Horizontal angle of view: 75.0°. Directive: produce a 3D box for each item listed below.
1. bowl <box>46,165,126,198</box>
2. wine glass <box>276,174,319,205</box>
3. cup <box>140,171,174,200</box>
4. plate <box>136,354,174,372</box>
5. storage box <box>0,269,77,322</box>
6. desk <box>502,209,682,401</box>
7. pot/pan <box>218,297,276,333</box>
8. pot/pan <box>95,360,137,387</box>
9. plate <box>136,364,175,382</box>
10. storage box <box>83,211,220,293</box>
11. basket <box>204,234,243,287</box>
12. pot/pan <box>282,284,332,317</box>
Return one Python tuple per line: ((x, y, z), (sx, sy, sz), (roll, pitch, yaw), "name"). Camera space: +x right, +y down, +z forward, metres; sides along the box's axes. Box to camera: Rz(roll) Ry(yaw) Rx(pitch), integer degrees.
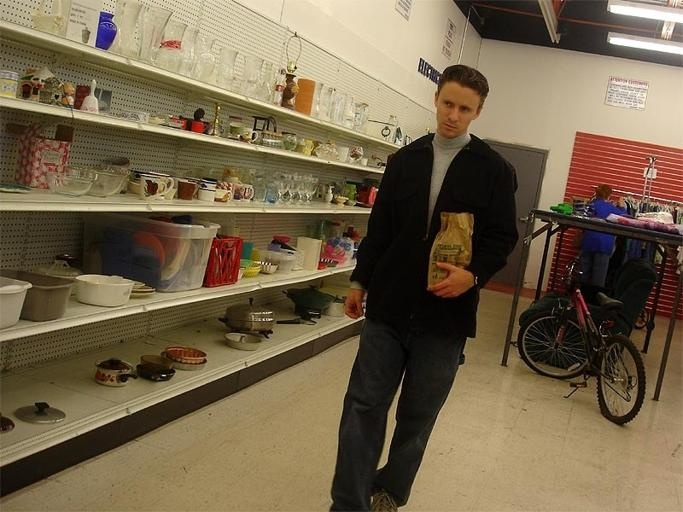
((-1.357, -0.403, 2.405), (0.219, 0.149, 0.404), (12, 9, 4), "bowl")
((-0.410, -0.619, 4.138), (0.275, 0.203, 0.313), (7, 4, 27), "wine glass")
((-1.148, -0.440, 2.738), (0.206, 0.133, 0.115), (5, 4, -6), "cup")
((-1.215, 0.693, 2.938), (0.160, 0.043, 0.138), (15, -11, 11), "plate")
((-1.418, 0.180, 2.124), (0.279, 0.096, 0.283), (11, 5, 40), "storage box")
((3.240, 0.588, 5.616), (2.029, 1.777, 1.619), (18, 3, 32), "desk")
((-0.833, 0.516, 3.991), (0.540, 0.253, 0.400), (5, 1, -20), "pot/pan")
((-1.377, 0.702, 2.722), (0.224, 0.123, 0.177), (6, 10, -29), "pot/pan")
((-1.204, 0.742, 2.858), (0.143, 0.032, 0.145), (4, 0, 21), "plate")
((-1.311, -0.001, 3.042), (0.758, 0.408, 0.523), (6, -12, 15), "storage box")
((-0.893, 0.054, 3.413), (0.221, 0.260, 0.369), (2, -5, -14), "basket")
((-0.362, 0.476, 4.796), (0.437, 0.169, 0.311), (12, 4, -1), "pot/pan")
